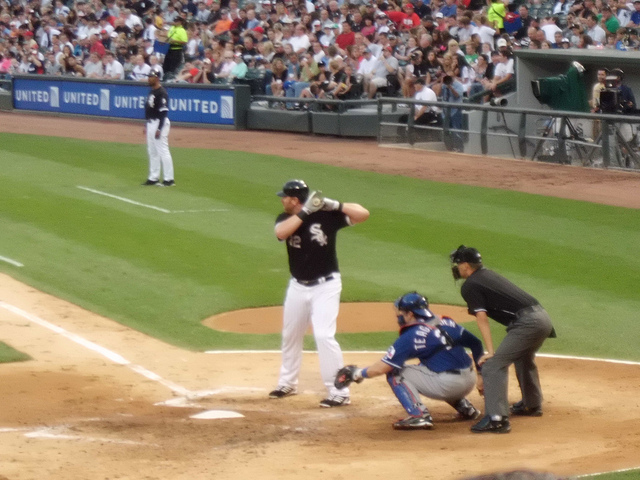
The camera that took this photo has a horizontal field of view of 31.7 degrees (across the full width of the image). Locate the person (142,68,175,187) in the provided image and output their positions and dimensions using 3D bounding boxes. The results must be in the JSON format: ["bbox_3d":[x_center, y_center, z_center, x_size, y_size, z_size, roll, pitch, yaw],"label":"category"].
[{"bbox_3d":[-3.366,-2.382,23.607,0.573,2.519,1.291,-1,4,-8],"label":"person"}]

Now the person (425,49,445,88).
[{"bbox_3d":[2.878,-4.468,29.148,0.729,0.893,0.664,-9,21,2],"label":"person"}]

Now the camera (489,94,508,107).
[{"bbox_3d":[4.367,-3.470,27.800,0.338,0.203,0.523,-5,10,-12],"label":"camera"}]

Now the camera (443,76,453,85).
[{"bbox_3d":[3.187,-4.038,28.277,0.240,0.198,0.219,0,3,11],"label":"camera"}]

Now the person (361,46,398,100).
[{"bbox_3d":[1.551,-4.578,30.640,1.051,1.365,0.757,0,4,14],"label":"person"}]

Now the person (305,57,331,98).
[{"bbox_3d":[0.166,-4.522,31.680,0.456,1.144,0.707,-30,16,-22],"label":"person"}]

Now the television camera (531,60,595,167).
[{"bbox_3d":[5.664,-3.007,26.456,1.335,2.573,1.667,0,3,7],"label":"television camera"}]

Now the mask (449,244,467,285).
[{"bbox_3d":[1.629,0.268,13.425,0.203,0.341,0.280,-5,-4,12],"label":"mask"}]

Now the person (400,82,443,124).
[{"bbox_3d":[2.619,-3.501,28.493,0.789,1.055,1.454,-1,3,-7],"label":"person"}]

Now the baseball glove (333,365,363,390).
[{"bbox_3d":[0.313,1.660,13.425,0.364,0.116,0.240,-7,22,4],"label":"baseball glove"}]

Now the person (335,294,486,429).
[{"bbox_3d":[1.154,1.436,13.409,1.574,1.605,0.522,0,4,1],"label":"person"}]
